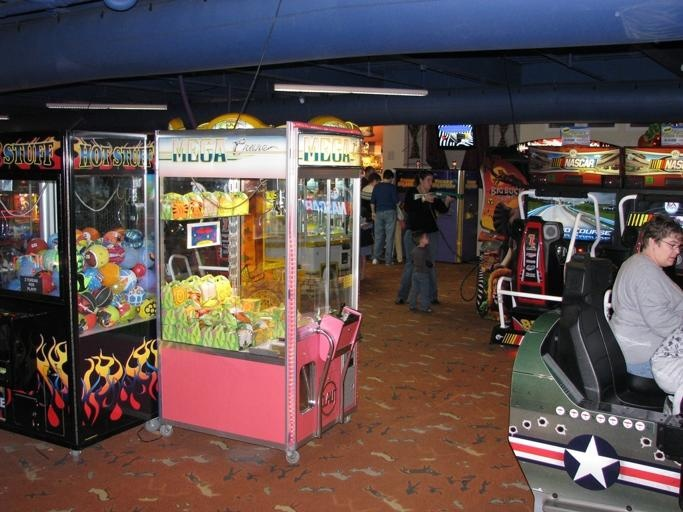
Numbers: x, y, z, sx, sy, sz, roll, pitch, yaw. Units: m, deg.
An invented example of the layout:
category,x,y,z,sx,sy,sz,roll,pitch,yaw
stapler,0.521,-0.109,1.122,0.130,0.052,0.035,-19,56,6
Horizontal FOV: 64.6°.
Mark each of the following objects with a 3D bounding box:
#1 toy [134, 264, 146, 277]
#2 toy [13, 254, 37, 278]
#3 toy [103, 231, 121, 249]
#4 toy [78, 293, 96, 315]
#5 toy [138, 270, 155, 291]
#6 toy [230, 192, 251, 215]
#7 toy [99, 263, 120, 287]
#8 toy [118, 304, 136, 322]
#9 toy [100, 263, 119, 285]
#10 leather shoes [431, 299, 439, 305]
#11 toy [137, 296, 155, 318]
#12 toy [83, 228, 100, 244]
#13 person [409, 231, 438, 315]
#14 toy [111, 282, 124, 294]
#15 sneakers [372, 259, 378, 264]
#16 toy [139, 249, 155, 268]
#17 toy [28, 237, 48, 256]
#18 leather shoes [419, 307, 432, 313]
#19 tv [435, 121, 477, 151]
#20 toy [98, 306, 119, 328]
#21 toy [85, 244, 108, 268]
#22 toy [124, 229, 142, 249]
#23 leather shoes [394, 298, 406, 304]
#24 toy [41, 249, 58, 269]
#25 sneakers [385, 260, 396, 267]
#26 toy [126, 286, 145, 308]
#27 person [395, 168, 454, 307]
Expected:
category,x,y,z,sx,sy,sz,roll,pitch,yaw
toy,-1.577,0.106,4.205,0.085,0.088,0.089,-20,-32,23
toy,-2.349,0.065,4.016,0.252,0.149,0.059,8,12,35
toy,-1.711,-0.126,4.027,0.045,0.131,0.147,5,11,25
toy,-1.813,0.338,3.837,0.065,0.150,0.052,13,2,17
toy,-1.524,0.191,4.235,0.140,0.160,0.144,3,10,15
toy,-0.762,-0.400,4.098,0.129,0.167,0.047,3,10,12
toy,-1.701,0.145,3.986,0.149,0.155,0.137,6,0,-5
toy,-1.623,0.425,4.080,0.093,0.121,0.077,10,-9,-38
toy,-1.711,0.133,3.984,0.139,0.153,0.139,4,8,9
leather shoes,1.375,0.677,7.973,0.158,0.052,0.110,0,-10,6
toy,-1.529,0.395,4.192,0.033,0.171,0.094,10,-22,34
toy,-1.795,-0.153,3.866,0.089,0.088,0.102,-24,-31,12
person,1.119,0.231,7.565,0.332,1.113,0.506,2,10,9
toy,-1.680,0.240,4.039,0.076,0.074,0.075,-4,8,-33
sneakers,0.677,0.108,11.262,0.090,0.101,0.240,0,-6,6
toy,-1.519,0.017,4.239,0.147,0.143,0.104,3,2,35
toy,-2.255,-0.075,3.990,0.188,0.114,0.042,5,11,25
leather shoes,1.158,0.754,7.530,0.179,0.122,0.059,1,1,6
tv,2.291,-2.416,10.859,0.900,0.604,0.476,9,33,22
toy,-1.718,0.431,3.983,0.142,0.166,0.146,-1,9,-35
toy,-1.787,-0.007,3.934,0.117,0.135,0.155,42,-19,-27
toy,-1.593,-0.134,4.188,0.139,0.105,0.127,14,-43,-13
leather shoes,0.853,0.657,7.951,0.072,0.125,0.131,-2,-8,35
toy,-2.102,0.024,3.889,0.091,0.104,0.091,20,-36,-38
sneakers,0.980,0.140,11.047,0.084,0.105,0.258,6,8,33
toy,-1.586,0.316,4.155,0.137,0.148,0.136,3,9,-13
person,1.183,-0.285,7.854,0.776,1.958,0.715,1,0,-4
